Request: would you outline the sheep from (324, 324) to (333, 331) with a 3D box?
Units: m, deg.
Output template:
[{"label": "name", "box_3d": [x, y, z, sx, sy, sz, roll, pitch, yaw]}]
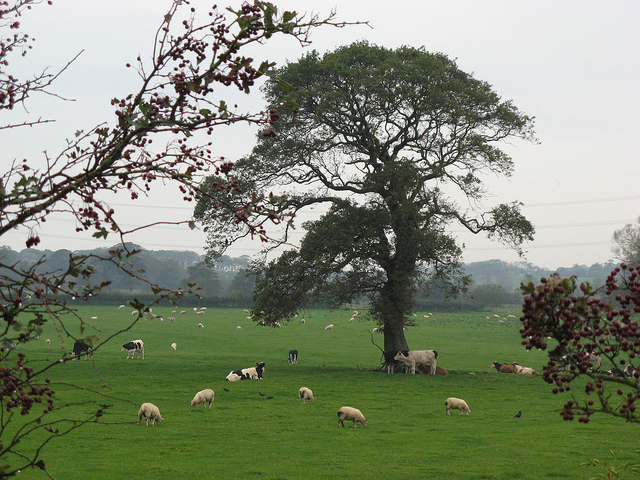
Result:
[{"label": "sheep", "box_3d": [0.902, 8.804, 83.073, 0.736, 0.548, 2.088, 3, -9, 2]}]

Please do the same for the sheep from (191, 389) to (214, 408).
[{"label": "sheep", "box_3d": [-5.770, 7.690, 39.671, 1.031, 0.861, 0.960, 4, -9, -9]}]

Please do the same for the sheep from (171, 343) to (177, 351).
[{"label": "sheep", "box_3d": [-11.079, 7.932, 61.056, 0.338, 0.491, 0.841, 2, -3, -7]}]

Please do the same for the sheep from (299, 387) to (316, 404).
[{"label": "sheep", "box_3d": [-0.683, 7.827, 40.990, 0.631, 0.764, 0.876, -3, -11, 35]}]

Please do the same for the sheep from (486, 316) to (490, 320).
[{"label": "sheep", "box_3d": [22.526, 10.223, 108.207, 0.538, 0.292, 0.532, -2, 7, -22]}]

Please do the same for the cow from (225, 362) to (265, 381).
[{"label": "cow", "box_3d": [-4.253, 7.658, 47.578, 1.015, 1.077, 3.209, -2, -10, 31]}]

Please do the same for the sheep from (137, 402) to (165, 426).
[{"label": "sheep", "box_3d": [-7.539, 7.665, 35.823, 0.489, 0.972, 1.313, -3, -11, 34]}]

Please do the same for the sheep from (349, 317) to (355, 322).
[{"label": "sheep", "box_3d": [3.735, 9.191, 95.615, 0.204, 0.362, 0.705, 7, 12, 34]}]

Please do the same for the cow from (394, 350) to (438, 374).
[{"label": "cow", "box_3d": [6.147, 7.619, 51.191, 2.968, 1.545, 0.887, 8, -10, -31]}]

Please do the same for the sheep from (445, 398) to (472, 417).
[{"label": "sheep", "box_3d": [6.731, 8.070, 39.364, 1.228, 0.823, 1.371, 1, -9, 10]}]

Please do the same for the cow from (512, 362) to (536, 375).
[{"label": "cow", "box_3d": [13.412, 8.411, 53.362, 1.278, 0.656, 1.984, 1, -9, 10]}]

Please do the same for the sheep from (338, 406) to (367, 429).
[{"label": "sheep", "box_3d": [1.483, 8.029, 36.847, 1.279, 0.894, 0.857, 3, -9, 3]}]

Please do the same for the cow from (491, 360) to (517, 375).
[{"label": "cow", "box_3d": [12.181, 8.496, 53.936, 0.617, 0.718, 1.487, 3, 3, -27]}]

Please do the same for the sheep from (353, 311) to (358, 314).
[{"label": "sheep", "box_3d": [4.716, 9.374, 107.099, 0.994, 0.440, 1.178, 2, -5, -3]}]

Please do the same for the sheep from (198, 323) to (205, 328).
[{"label": "sheep", "box_3d": [-12.012, 8.475, 81.617, 0.494, 0.472, 0.391, -3, -4, 22]}]
